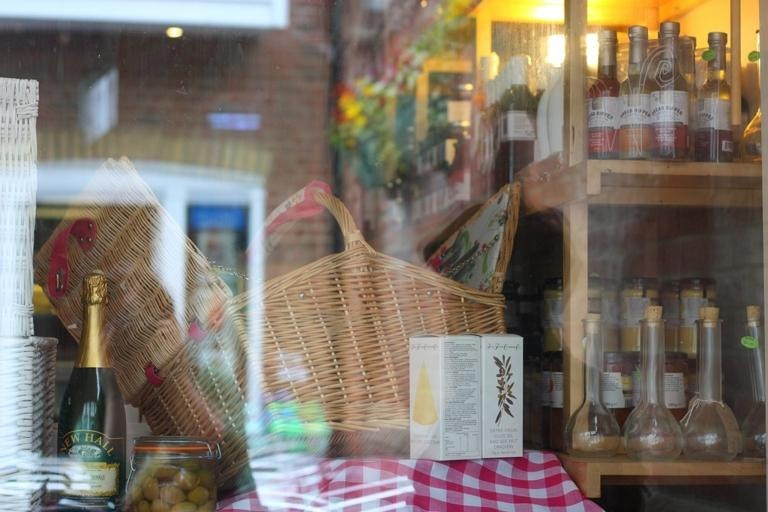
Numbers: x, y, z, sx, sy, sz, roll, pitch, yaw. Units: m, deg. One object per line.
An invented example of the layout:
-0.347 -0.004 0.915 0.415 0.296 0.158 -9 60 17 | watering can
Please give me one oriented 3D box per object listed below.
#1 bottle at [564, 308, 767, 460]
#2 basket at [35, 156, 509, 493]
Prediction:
0.586 0.261 2.998 0.310 0.265 0.115 0 -8 1 | bottle
-0.254 0.149 3.129 0.829 0.529 0.607 -3 -7 -22 | basket
